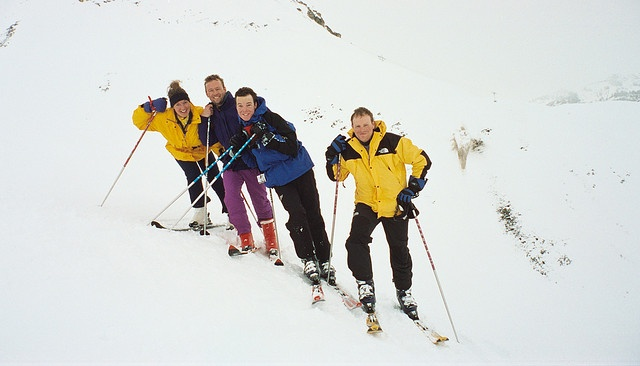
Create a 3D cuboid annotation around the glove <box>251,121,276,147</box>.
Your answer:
[{"bbox_3d":[-1.080,-0.937,9.446,0.475,0.382,0.174,-21,-4,8],"label":"glove"}]

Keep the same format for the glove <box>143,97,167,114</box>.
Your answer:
[{"bbox_3d":[-3.319,-1.565,9.910,0.379,0.169,0.278,6,22,41],"label":"glove"}]

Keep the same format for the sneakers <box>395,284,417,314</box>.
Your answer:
[{"bbox_3d":[1.603,2.175,9.156,0.210,0.273,0.626,-23,-19,-12],"label":"sneakers"}]

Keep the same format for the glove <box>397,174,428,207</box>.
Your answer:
[{"bbox_3d":[1.676,0.136,9.095,0.390,0.599,0.181,19,-4,5],"label":"glove"}]

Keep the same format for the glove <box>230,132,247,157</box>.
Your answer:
[{"bbox_3d":[-1.571,-0.766,9.419,0.148,0.439,0.322,39,2,-36],"label":"glove"}]

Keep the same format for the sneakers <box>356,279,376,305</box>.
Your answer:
[{"bbox_3d":[0.833,1.988,9.047,0.188,0.277,0.604,-6,-39,4],"label":"sneakers"}]

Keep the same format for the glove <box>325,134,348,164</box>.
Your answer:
[{"bbox_3d":[0.286,-0.633,9.260,0.345,0.547,0.179,33,10,16],"label":"glove"}]
